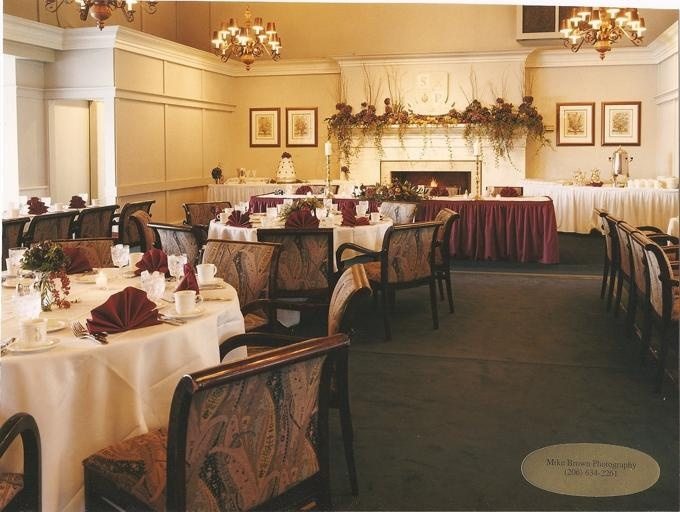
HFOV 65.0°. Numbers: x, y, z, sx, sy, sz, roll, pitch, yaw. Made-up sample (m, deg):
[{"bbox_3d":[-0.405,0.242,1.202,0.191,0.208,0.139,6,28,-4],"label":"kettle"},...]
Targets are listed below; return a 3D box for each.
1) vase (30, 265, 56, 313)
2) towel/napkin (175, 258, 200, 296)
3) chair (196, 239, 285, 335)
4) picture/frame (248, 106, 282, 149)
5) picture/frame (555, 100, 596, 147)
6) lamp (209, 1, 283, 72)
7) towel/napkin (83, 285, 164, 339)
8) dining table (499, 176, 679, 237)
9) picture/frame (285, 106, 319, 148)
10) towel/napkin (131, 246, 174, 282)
[{"bbox_3d":[-1.379,0.150,2.496,0.076,0.206,0.079,0,4,-22],"label":"vase"},{"bbox_3d":[-0.790,0.120,2.746,0.143,0.220,0.095,7,17,4],"label":"towel/napkin"},{"bbox_3d":[-0.578,0.193,3.489,0.479,0.786,0.523,1,1,20],"label":"chair"},{"bbox_3d":[-1.663,-2.835,12.036,0.829,1.034,0.070,2,12,13],"label":"picture/frame"},{"bbox_3d":[4.776,-2.633,10.797,0.830,1.063,0.091,0,13,13],"label":"picture/frame"},{"bbox_3d":[-1.284,-2.951,7.491,0.848,0.821,0.818,-3,13,-18],"label":"lamp"},{"bbox_3d":[-0.906,0.264,2.212,0.263,0.110,0.312,24,24,34],"label":"towel/napkin"},{"bbox_3d":[4.081,-0.798,8.894,2.474,0.750,1.656,3,10,24],"label":"dining table"},{"bbox_3d":[-0.826,-2.805,11.862,0.807,0.995,0.065,2,13,12],"label":"picture/frame"},{"bbox_3d":[-1.056,0.049,3.008,0.199,0.109,0.200,-1,6,-39],"label":"towel/napkin"}]
